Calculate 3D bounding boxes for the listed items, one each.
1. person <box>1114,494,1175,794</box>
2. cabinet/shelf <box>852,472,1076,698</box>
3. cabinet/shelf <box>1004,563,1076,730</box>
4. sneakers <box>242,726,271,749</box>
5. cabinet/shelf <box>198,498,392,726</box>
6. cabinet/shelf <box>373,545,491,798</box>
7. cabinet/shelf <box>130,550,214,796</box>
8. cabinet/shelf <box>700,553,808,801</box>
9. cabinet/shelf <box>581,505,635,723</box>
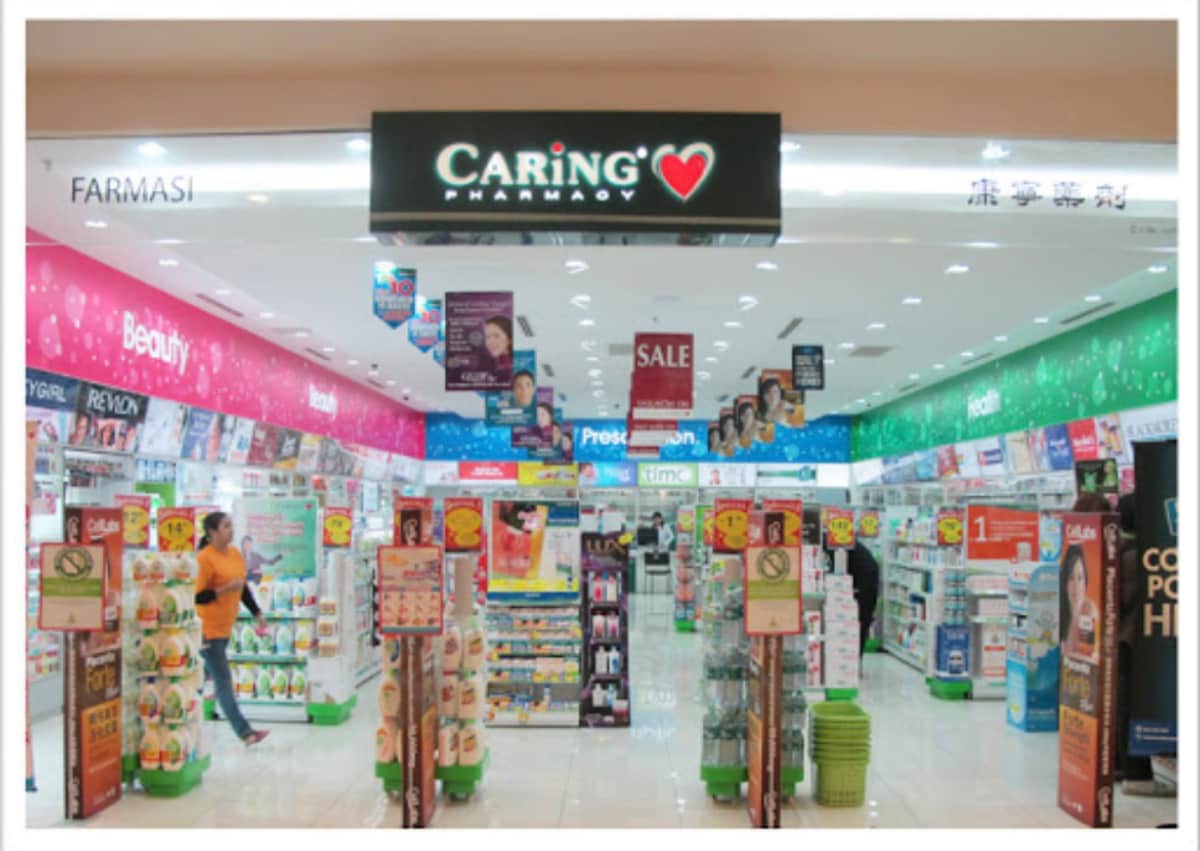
[{"bbox_3d":[4.425,1.790,7.473,0.413,2.439,1.330,-3,-5,32],"label":"person"},{"bbox_3d":[4.364,2.001,10.931,0.899,1.697,2.761,0,-1,-4],"label":"cabinet/shelf"},{"bbox_3d":[4.522,2.275,9.454,0.527,1.672,0.437,-1,-5,12],"label":"cabinet/shelf"},{"bbox_3d":[-3.218,2.914,8.519,0.083,0.138,0.202,-39,2,9],"label":"sneakers"},{"bbox_3d":[-3.109,1.912,9.119,2.096,3.061,1.241,-1,-6,-4],"label":"cabinet/shelf"},{"bbox_3d":[-1.347,2.026,7.376,0.838,1.947,1.170,0,-5,-5],"label":"cabinet/shelf"},{"bbox_3d":[-3.518,2.022,7.457,0.617,1.888,0.316,2,-5,-25],"label":"cabinet/shelf"},{"bbox_3d":[1.255,2.062,7.496,0.825,1.941,0.608,-1,-5,7],"label":"cabinet/shelf"},{"bbox_3d":[0.056,2.103,9.507,0.501,1.939,0.400,0,-4,-1],"label":"cabinet/shelf"}]
